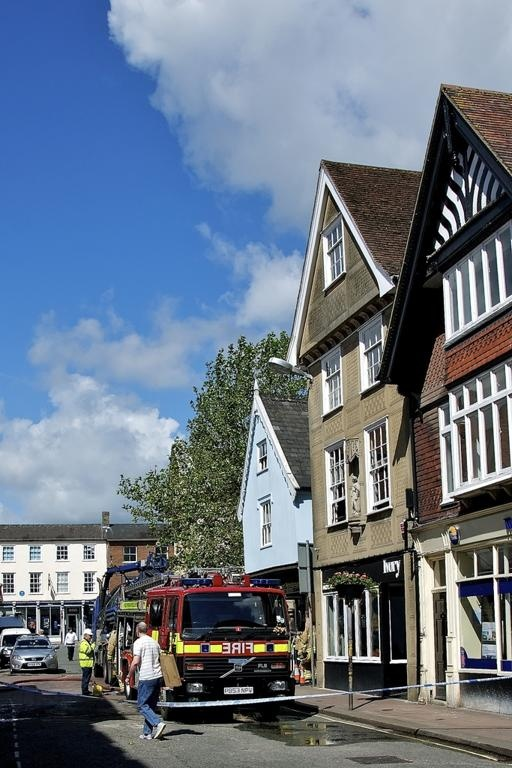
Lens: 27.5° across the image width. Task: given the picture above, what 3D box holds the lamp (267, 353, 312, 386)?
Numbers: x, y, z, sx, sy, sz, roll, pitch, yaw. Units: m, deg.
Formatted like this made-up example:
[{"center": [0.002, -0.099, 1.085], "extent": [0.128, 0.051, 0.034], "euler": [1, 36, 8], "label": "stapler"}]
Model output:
[{"center": [1.018, -0.568, 28.801], "extent": [1.604, 0.391, 0.771], "euler": [29, -24, -32], "label": "lamp"}]

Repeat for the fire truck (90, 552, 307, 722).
[{"center": [-1.123, 4.969, 20.823], "extent": [2.455, 3.381, 7.138], "euler": [3, -16, -15], "label": "fire truck"}]

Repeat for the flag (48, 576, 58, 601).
[{"center": [-16.561, 16.506, 84.558], "extent": [0.724, 2.222, 0.850], "euler": [3, -17, -12], "label": "flag"}]

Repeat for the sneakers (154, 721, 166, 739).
[{"center": [-1.318, 4.685, 14.116], "extent": [0.148, 0.221, 0.335], "euler": [1, -17, -8], "label": "sneakers"}]

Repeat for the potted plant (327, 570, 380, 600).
[{"center": [2.235, 4.490, 22.667], "extent": [0.856, 0.570, 0.853], "euler": [1, -9, 0], "label": "potted plant"}]

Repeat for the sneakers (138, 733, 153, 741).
[{"center": [-1.493, 4.762, 14.121], "extent": [0.067, 0.077, 0.160], "euler": [5, -7, -31], "label": "sneakers"}]
